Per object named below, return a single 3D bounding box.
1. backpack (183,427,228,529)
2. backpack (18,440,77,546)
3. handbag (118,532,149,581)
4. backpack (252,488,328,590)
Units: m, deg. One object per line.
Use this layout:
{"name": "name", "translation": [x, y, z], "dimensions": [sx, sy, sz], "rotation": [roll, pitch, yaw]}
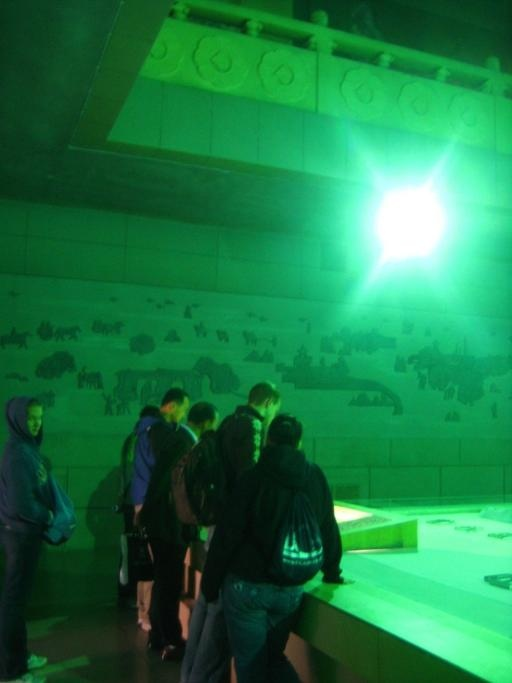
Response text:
{"name": "backpack", "translation": [-0.236, 0.670, 3.360], "dimensions": [0.248, 0.460, 0.150], "rotation": [-4, -43, -6]}
{"name": "backpack", "translation": [-1.233, 0.880, 3.963], "dimensions": [0.218, 0.549, 0.435], "rotation": [-27, -26, 7]}
{"name": "handbag", "translation": [-0.693, 1.306, 4.148], "dimensions": [0.219, 0.310, 0.164], "rotation": [2, -17, -32]}
{"name": "backpack", "translation": [0.159, 0.819, 2.948], "dimensions": [0.275, 0.390, 0.209], "rotation": [9, -5, -33]}
